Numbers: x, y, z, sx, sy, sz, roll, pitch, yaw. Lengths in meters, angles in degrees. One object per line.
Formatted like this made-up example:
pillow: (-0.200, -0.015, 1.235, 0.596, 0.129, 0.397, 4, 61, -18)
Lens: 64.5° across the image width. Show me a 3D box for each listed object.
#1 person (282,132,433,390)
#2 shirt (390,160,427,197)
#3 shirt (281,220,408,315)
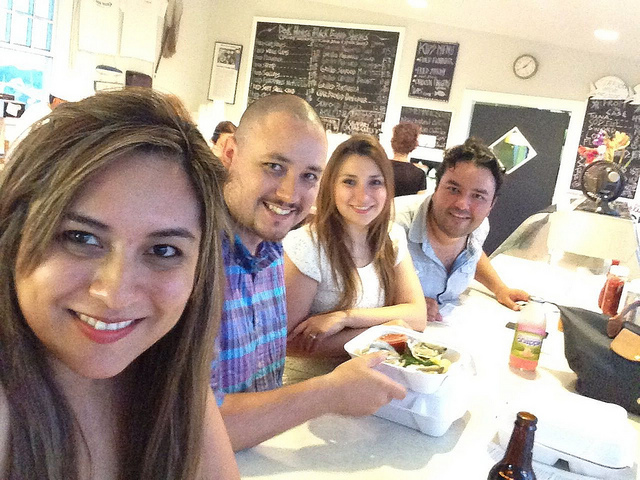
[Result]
person: (0.152, 0.062, 2.201, 0.648, 0.963, 0.564, -3, 11, -20)
shirt: (0.714, -0.524, 4.282, 0.385, 0.282, 0.191, -6, 1, -7)
shirt: (0.132, 0.123, 2.261, 0.648, 0.382, 0.242, -4, 15, -41)
